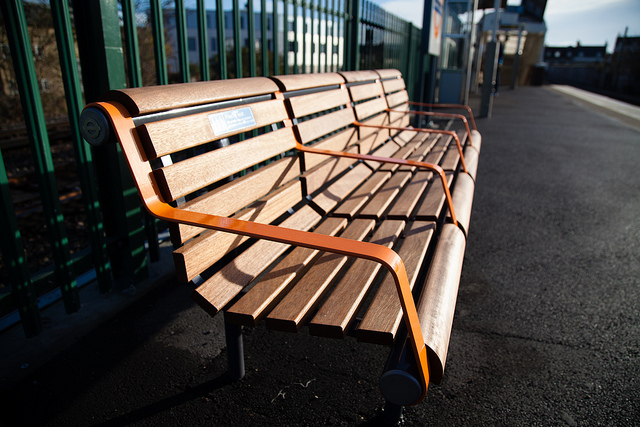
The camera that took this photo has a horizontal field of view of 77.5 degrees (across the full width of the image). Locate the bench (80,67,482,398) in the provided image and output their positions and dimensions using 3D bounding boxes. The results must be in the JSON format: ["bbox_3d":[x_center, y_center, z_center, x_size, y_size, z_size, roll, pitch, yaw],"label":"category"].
[{"bbox_3d":[0.455,-0.481,3.635,1.735,1.338,4.540,9,22,20],"label":"bench"}]
